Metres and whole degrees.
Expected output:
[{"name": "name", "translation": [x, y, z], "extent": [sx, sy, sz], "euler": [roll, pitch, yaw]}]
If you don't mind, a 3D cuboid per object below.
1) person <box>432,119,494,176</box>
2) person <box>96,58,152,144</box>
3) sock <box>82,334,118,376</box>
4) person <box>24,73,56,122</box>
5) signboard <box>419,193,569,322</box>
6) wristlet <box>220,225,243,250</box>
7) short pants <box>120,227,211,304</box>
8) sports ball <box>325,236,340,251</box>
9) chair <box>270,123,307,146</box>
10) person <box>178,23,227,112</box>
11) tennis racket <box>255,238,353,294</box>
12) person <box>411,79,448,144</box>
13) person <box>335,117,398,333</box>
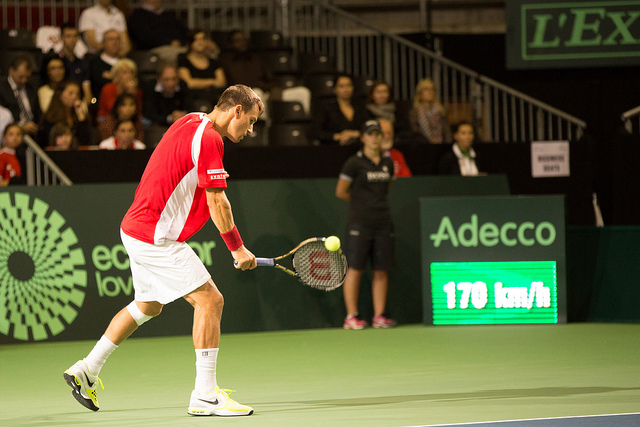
[{"name": "person", "translation": [1.953, -0.893, 9.953], "extent": [0.824, 0.828, 0.536], "euler": [-3, 9, -9]}, {"name": "person", "translation": [-2.973, -1.612, 11.050], "extent": [0.552, 1.585, 0.815], "euler": [4, -2, -45]}, {"name": "sock", "translation": [-1.944, 1.240, 6.484], "extent": [0.184, 0.466, 0.155], "euler": [34, -10, -27]}, {"name": "person", "translation": [-4.250, -1.781, 11.050], "extent": [0.576, 0.898, 0.266], "euler": [2, -7, 25]}, {"name": "signboard", "translation": [2.206, 0.558, 8.987], "extent": [1.359, 1.457, 0.156], "euler": [-1, -2, 4]}, {"name": "wristlet", "translation": [-0.738, 0.211, 6.240], "extent": [0.183, 0.174, 0.161], "euler": [-27, 4, -43]}, {"name": "short pants", "translation": [-1.435, 0.480, 6.531], "extent": [0.701, 0.734, 0.436], "euler": [-6, 14, 41]}, {"name": "sports ball", "translation": [0.111, 0.285, 6.792], "extent": [0.130, 0.159, 0.259], "euler": [-2, 7, 0]}, {"name": "chair", "translation": [-0.485, -1.230, 10.983], "extent": [0.568, 0.311, 0.214], "euler": [-2, 7, 0]}, {"name": "person", "translation": [-1.873, -2.286, 11.839], "extent": [0.674, 1.729, 0.901], "euler": [-8, 10, -29]}, {"name": "tennis racket", "translation": [-0.118, 0.470, 6.718], "extent": [0.365, 0.542, 1.065], "euler": [4, 9, 37]}, {"name": "person", "translation": [1.580, -1.474, 10.860], "extent": [0.523, 1.036, 0.341], "euler": [-1, -6, -5]}, {"name": "person", "translation": [0.570, 0.142, 9.068], "extent": [0.694, 2.598, 0.356], "euler": [-1, 7, 4]}]
